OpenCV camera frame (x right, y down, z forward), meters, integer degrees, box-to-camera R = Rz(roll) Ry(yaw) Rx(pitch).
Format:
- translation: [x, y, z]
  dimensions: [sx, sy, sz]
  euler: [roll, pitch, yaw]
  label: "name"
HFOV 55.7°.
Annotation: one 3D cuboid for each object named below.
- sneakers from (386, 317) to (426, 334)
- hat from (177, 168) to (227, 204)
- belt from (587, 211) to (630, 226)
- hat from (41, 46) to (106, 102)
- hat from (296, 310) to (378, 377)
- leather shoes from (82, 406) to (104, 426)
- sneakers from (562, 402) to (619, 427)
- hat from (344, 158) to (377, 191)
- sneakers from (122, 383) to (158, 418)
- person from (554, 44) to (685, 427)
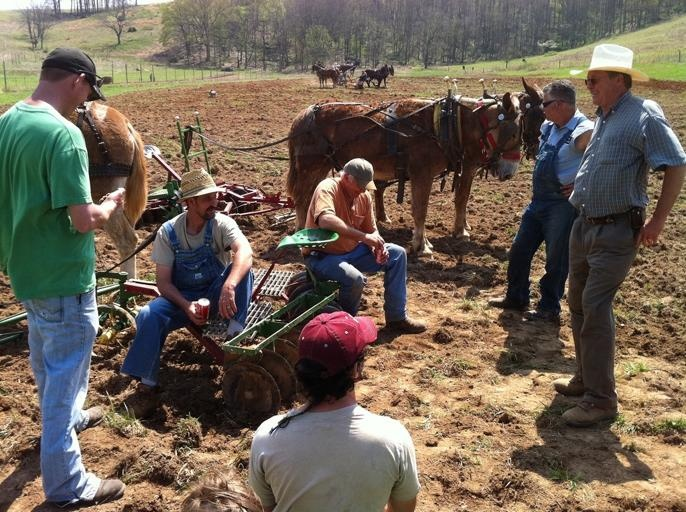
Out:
- translation: [0.719, 0.792, 7.526]
  dimensions: [0.466, 0.194, 0.181]
  euler: [-3, 18, 5]
  label: "sneakers"
- translation: [-1.371, -0.624, 6.090]
  dimensions: [0.323, 0.144, 0.323]
  euler: [-13, 10, 22]
  label: "hat"
- translation: [2.311, -0.334, 5.670]
  dimensions: [0.328, 0.153, 0.043]
  euler: [12, 23, 31]
  label: "belt"
- translation: [-2.033, -1.440, 5.043]
  dimensions: [0.361, 0.282, 0.534]
  euler: [15, 7, 29]
  label: "hat"
- translation: [-0.010, 0.468, 3.995]
  dimensions: [0.304, 0.226, 0.451]
  euler: [14, 36, 35]
  label: "hat"
- translation: [-2.224, 1.428, 5.764]
  dimensions: [0.085, 0.095, 0.231]
  euler: [25, 36, 15]
  label: "leather shoes"
- translation: [2.187, 1.395, 5.845]
  dimensions: [0.509, 0.223, 0.194]
  euler: [-2, 19, -5]
  label: "sneakers"
- translation: [0.216, -0.864, 6.941]
  dimensions: [0.297, 0.375, 0.433]
  euler: [10, 21, 26]
  label: "hat"
- translation: [-1.831, 1.331, 5.950]
  dimensions: [0.281, 0.097, 0.285]
  euler: [-36, 47, -20]
  label: "sneakers"
- translation: [2.379, -0.164, 5.694]
  dimensions: [0.806, 3.214, 1.193]
  euler: [6, 20, 17]
  label: "person"
